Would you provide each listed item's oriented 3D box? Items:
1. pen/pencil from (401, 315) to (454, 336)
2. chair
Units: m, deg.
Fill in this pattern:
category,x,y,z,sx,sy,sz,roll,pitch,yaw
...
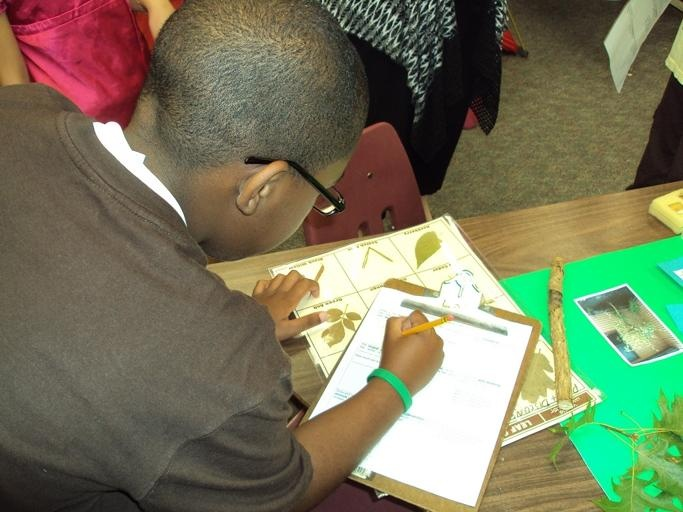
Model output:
category,x,y,z,sx,sy,sz,roll,pitch,yaw
pen/pencil,0.161,0.134,1.129,0.103,0.012,0.013,-26,59,48
chair,0.047,-0.194,1.629,0.267,0.329,0.385,-17,36,-16
